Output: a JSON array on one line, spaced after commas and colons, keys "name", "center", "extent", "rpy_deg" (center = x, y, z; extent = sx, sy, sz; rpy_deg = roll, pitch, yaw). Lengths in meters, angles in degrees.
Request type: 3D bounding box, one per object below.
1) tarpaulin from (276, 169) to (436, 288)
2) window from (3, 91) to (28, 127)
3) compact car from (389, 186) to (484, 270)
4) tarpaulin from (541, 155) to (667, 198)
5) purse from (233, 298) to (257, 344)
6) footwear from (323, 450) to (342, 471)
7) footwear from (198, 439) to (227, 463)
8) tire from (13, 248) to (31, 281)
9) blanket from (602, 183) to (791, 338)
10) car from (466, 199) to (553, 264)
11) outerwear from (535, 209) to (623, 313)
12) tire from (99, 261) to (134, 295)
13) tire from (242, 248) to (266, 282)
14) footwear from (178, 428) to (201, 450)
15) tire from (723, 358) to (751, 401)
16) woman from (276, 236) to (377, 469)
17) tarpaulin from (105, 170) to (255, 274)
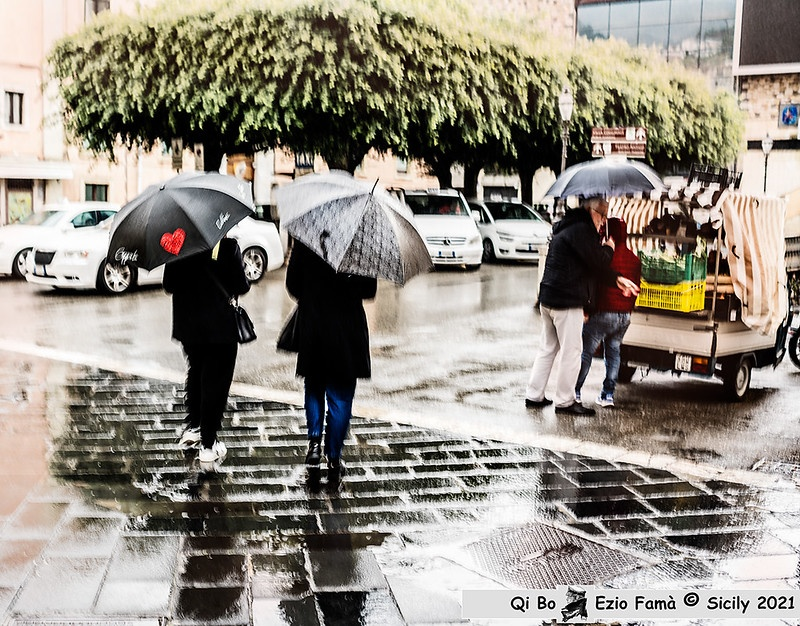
[{"name": "tarpaulin", "center": [-0.267, -0.724, 6.774], "extent": [1.136, 0.613, 1.279], "rpy_deg": [22, 21, 22]}, {"name": "window", "center": [-14.740, -7.787, 34.726], "extent": [0.130, 1.764, 1.248], "rpy_deg": [0, 1, 28]}, {"name": "compact car", "center": [1.121, -2.248, 23.539], "extent": [1.427, 1.488, 2.848], "rpy_deg": [-1, 5, -7]}, {"name": "tarpaulin", "center": [2.231, -1.462, 9.949], "extent": [1.208, 0.456, 1.427], "rpy_deg": [-5, 0, 9]}, {"name": "purse", "center": [-1.263, 0.074, 7.323], "extent": [0.186, 0.357, 0.068], "rpy_deg": [-14, 5, -44]}, {"name": "footwear", "center": [-0.535, 1.149, 7.154], "extent": [0.104, 0.162, 0.123], "rpy_deg": [0, -2, 4]}, {"name": "footwear", "center": [-1.514, 1.121, 7.371], "extent": [0.076, 0.164, 0.180], "rpy_deg": [-23, -6, 32]}, {"name": "tire", "center": [-7.688, -1.033, 18.503], "extent": [0.441, 0.603, 0.190], "rpy_deg": [5, 7, -6]}, {"name": "blanket", "center": [3.591, -0.576, 10.152], "extent": [1.452, 1.926, 1.960], "rpy_deg": [3, 4, 31]}, {"name": "car", "center": [2.947, -2.303, 25.052], "extent": [1.152, 1.160, 2.310], "rpy_deg": [-1, 6, -20]}, {"name": "outerwear", "center": [1.721, -0.525, 8.822], "extent": [0.716, 0.972, 0.281], "rpy_deg": [3, 7, 16]}, {"name": "tire", "center": [-5.031, -0.634, 16.018], "extent": [0.166, 0.610, 0.488], "rpy_deg": [3, 3, 38]}, {"name": "tire", "center": [-2.896, -0.981, 17.946], "extent": [0.155, 0.560, 0.503], "rpy_deg": [4, -28, 24]}, {"name": "footwear", "center": [-1.754, 1.038, 7.579], "extent": [0.160, 0.082, 0.185], "rpy_deg": [34, 36, 7]}, {"name": "tire", "center": [3.602, 0.691, 9.764], "extent": [0.109, 0.385, 0.319], "rpy_deg": [11, -3, 33]}, {"name": "woman", "center": [-0.607, 0.057, 7.000], "extent": [0.624, 2.272, 0.668], "rpy_deg": [1, 27, -5]}, {"name": "tarpaulin", "center": [-1.757, -0.776, 7.061], "extent": [1.140, 0.455, 1.222], "rpy_deg": [6, 31, 35]}]
